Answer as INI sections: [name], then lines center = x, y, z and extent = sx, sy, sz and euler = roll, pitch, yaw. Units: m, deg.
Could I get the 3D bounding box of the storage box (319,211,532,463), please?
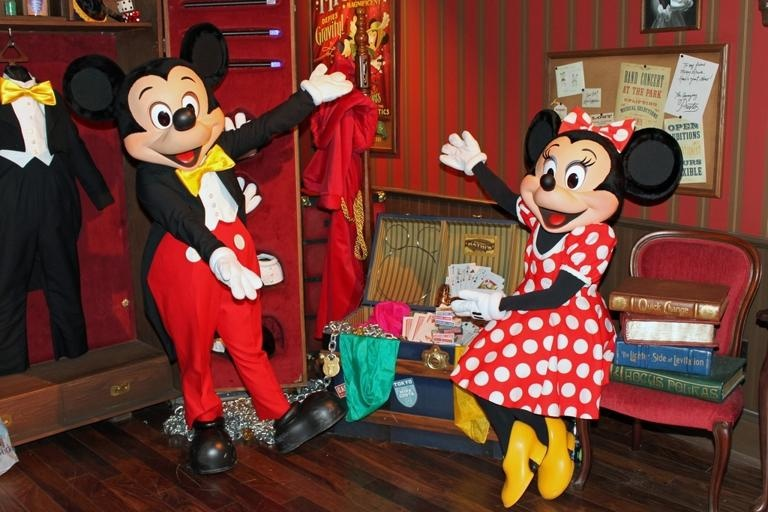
[storage box]
center = 0.318, 0.412, 3.850
extent = 1.215, 1.217, 1.240
euler = 5, 12, 21
